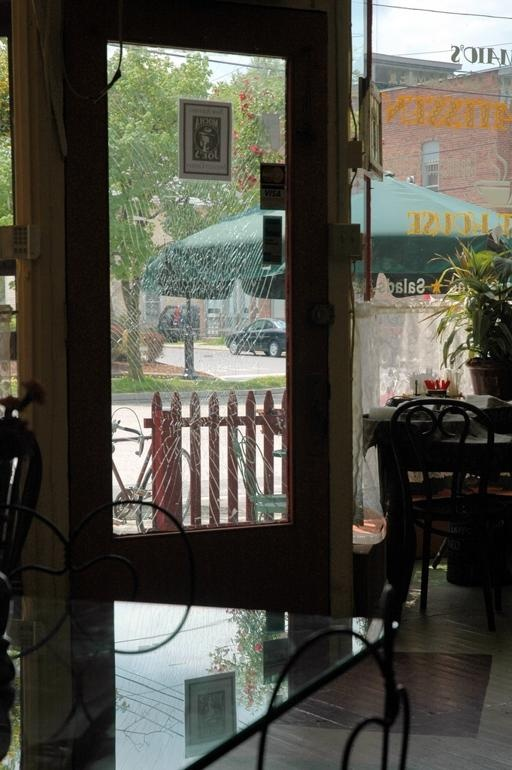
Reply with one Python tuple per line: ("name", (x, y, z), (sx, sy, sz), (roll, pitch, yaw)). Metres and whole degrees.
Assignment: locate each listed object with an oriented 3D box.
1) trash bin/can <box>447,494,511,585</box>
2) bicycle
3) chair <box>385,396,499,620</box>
("trash bin/can", (0.935, 0.659, 3.450), (0.297, 0.457, 0.376), (0, 0, 1))
("bicycle", (-0.287, 0.295, 2.491), (0.166, 0.329, 0.404), (0, -4, 32))
("chair", (0.757, 0.472, 3.175), (0.381, 0.823, 0.955), (-1, -3, 17))
